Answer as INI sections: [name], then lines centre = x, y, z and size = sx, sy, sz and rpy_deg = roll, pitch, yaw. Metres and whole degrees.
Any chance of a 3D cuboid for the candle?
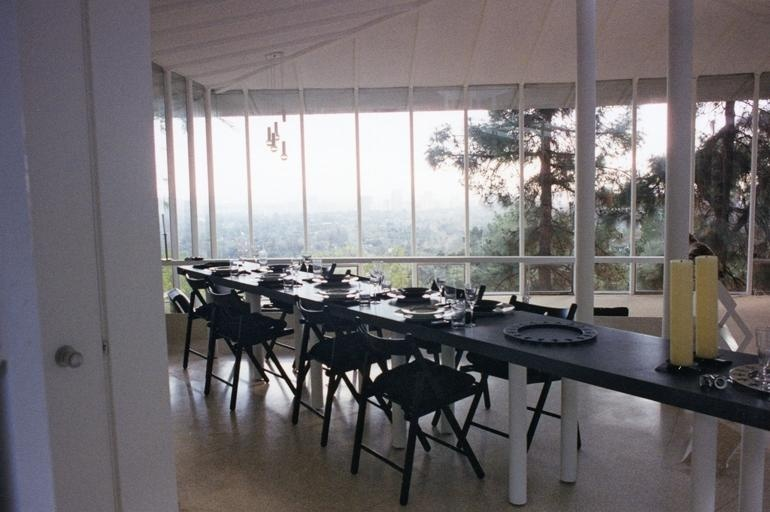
[candle]
centre = 1.475, 0.253, 2.929
size = 0.186, 0.524, 0.378
rpy_deg = 10, 15, 43
